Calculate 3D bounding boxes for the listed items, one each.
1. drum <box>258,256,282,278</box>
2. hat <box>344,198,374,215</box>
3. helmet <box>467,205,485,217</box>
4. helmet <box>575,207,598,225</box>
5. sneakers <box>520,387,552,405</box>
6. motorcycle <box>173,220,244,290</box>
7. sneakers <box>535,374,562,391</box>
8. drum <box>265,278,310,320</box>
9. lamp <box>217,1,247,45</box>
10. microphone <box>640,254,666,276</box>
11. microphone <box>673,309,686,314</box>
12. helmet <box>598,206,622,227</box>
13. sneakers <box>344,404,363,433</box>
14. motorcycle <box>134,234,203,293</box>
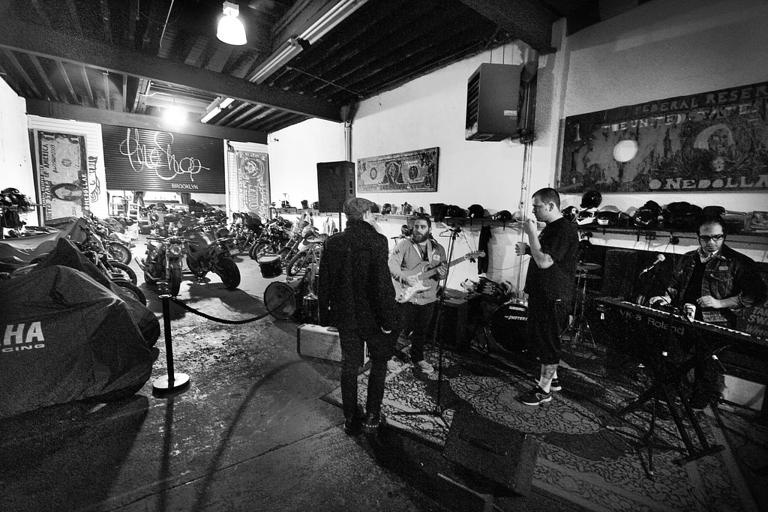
[{"bbox_3d":[-2.014,0.206,8.548,0.325,0.411,0.446,-1,8,-7],"label":"drum"},{"bbox_3d":[-0.259,-0.562,5.360,0.194,0.128,0.259,14,38,31],"label":"hat"},{"bbox_3d":[1.482,-0.715,7.831,0.273,0.201,0.174,4,9,23],"label":"helmet"},{"bbox_3d":[2.768,-0.540,6.640,0.218,0.240,0.266,-3,11,-34],"label":"helmet"},{"bbox_3d":[1.843,1.713,5.932,0.416,0.172,0.165,0,-1,-10],"label":"sneakers"},{"bbox_3d":[-3.488,-0.090,9.636,0.895,1.240,2.273,-21,24,-40],"label":"motorcycle"},{"bbox_3d":[2.030,1.635,6.221,0.485,0.206,0.170,0,-1,10],"label":"sneakers"},{"bbox_3d":[-1.536,0.661,7.868,0.669,0.719,0.678,2,11,1],"label":"drum"},{"bbox_3d":[-2.166,-3.383,7.088,0.352,0.581,0.638,0,8,0],"label":"lamp"},{"bbox_3d":[3.453,0.118,6.215,0.462,0.155,0.169,-31,15,-26],"label":"microphone"},{"bbox_3d":[3.307,0.619,5.408,0.112,0.031,0.111,0,1,17],"label":"microphone"},{"bbox_3d":[3.026,-0.548,6.481,0.258,0.316,0.279,-10,23,36],"label":"helmet"},{"bbox_3d":[-0.327,1.899,5.627,0.141,0.164,0.401,2,8,12],"label":"sneakers"},{"bbox_3d":[-4.134,0.011,9.258,0.841,1.032,2.005,3,12,-35],"label":"motorcycle"}]
